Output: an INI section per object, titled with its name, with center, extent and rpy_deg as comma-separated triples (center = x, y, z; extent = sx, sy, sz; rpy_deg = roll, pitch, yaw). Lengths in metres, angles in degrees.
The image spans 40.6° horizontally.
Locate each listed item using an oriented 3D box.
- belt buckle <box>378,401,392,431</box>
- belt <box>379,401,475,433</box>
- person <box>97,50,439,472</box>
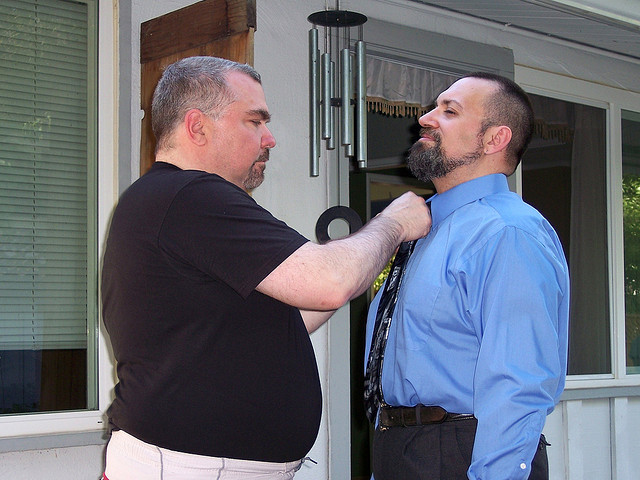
[belt buckle]
center = 0.244, 0.668, 3.284
extent = 0.020, 0.095, 0.063
rpy_deg = 3, 4, -27
[belt]
center = 0.448, 0.660, 3.270
extent = 0.399, 0.137, 0.241
rpy_deg = -11, -12, 36
[person]
center = -0.269, 0.077, 3.036
extent = 0.981, 1.479, 0.392
rpy_deg = 3, -5, -11
